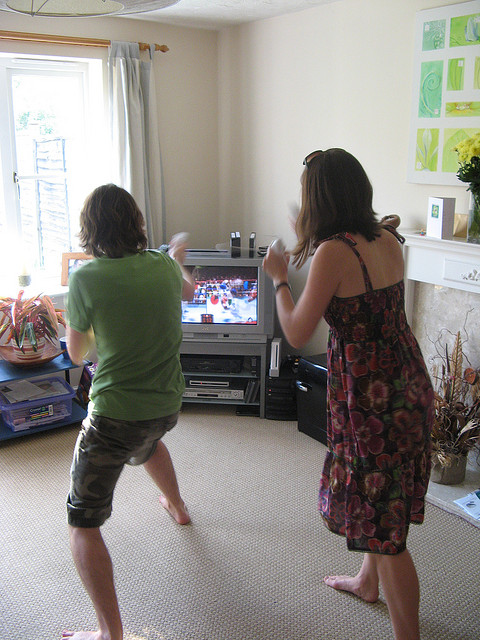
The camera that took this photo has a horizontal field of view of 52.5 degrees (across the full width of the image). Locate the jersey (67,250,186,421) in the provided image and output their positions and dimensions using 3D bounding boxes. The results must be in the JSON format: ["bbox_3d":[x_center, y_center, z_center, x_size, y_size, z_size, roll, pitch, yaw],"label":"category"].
[{"bbox_3d":[-0.282,0.048,1.265,0.296,0.436,0.180,-5,11,-23],"label":"jersey"}]

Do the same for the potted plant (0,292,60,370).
[{"bbox_3d":[-1.147,0.060,2.657,0.426,0.419,0.340,1,5,-4],"label":"potted plant"}]

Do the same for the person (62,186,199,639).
[{"bbox_3d":[-0.319,0.295,1.324,0.394,1.286,0.246,-4,11,-21],"label":"person"}]

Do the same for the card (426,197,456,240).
[{"bbox_3d":[0.894,-0.469,2.250,0.069,0.177,0.123,-21,22,-36],"label":"card"}]

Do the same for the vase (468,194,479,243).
[{"bbox_3d":[0.989,-0.430,2.061,0.040,0.197,0.052,-9,13,-39],"label":"vase"}]

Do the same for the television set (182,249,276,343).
[{"bbox_3d":[-0.130,-0.213,3.117,0.649,0.586,0.377,3,29,0],"label":"television set"}]

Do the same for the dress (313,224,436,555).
[{"bbox_3d":[0.331,0.205,1.201,0.282,0.831,0.224,2,10,16],"label":"dress"}]
